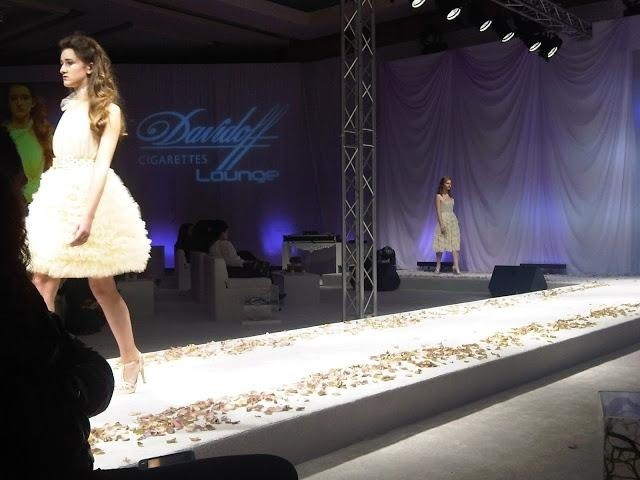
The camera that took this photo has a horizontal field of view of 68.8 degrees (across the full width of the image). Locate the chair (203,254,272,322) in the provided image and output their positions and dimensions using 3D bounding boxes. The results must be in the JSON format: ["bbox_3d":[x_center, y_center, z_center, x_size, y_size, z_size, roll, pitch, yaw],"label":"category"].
[{"bbox_3d":[-0.998,0.442,5.743,0.627,0.671,0.929,-1,0,-15],"label":"chair"}]

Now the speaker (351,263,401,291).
[{"bbox_3d":[0.897,0.582,7.420,0.584,0.303,0.796,-1,1,20],"label":"speaker"}]

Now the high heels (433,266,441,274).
[{"bbox_3d":[2.465,0.618,9.654,0.086,0.109,0.271,-2,3,-1],"label":"high heels"}]

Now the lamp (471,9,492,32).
[{"bbox_3d":[2.889,-3.857,8.200,0.457,0.335,0.172,-1,2,-28],"label":"lamp"}]

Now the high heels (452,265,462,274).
[{"bbox_3d":[2.818,0.609,9.566,0.123,0.174,0.425,-4,-3,-6],"label":"high heels"}]

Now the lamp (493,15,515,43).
[{"bbox_3d":[3.307,-3.805,8.386,0.380,0.367,0.225,-1,1,3],"label":"lamp"}]

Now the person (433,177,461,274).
[{"bbox_3d":[2.617,-0.298,9.578,0.519,1.924,1.238,0,1,15],"label":"person"}]

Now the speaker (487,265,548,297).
[{"bbox_3d":[3.117,0.605,7.250,0.576,0.481,0.716,-26,15,-32],"label":"speaker"}]

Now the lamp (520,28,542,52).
[{"bbox_3d":[3.807,-3.590,8.366,0.341,0.363,0.109,0,2,25],"label":"lamp"}]

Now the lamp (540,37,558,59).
[{"bbox_3d":[4.205,-3.484,8.456,0.342,0.379,0.184,-1,1,-8],"label":"lamp"}]

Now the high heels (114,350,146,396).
[{"bbox_3d":[-0.989,0.702,2.422,0.077,0.168,0.216,-12,7,25],"label":"high heels"}]
